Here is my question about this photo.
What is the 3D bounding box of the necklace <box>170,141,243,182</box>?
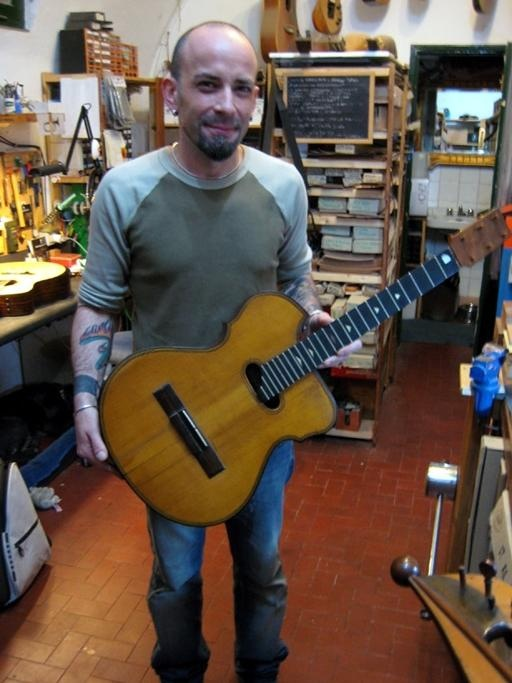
[{"bbox_3d":[-0.158,-0.550,1.553,0.237,0.113,0.209,1,15,-2],"label":"necklace"}]

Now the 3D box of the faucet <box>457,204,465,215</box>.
[{"bbox_3d":[2.884,-1.851,7.165,0.062,0.129,0.028,2,0,-26],"label":"faucet"}]

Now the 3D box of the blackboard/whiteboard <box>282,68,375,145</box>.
[{"bbox_3d":[0.549,-1.745,3.748,0.606,0.492,0.088,5,21,12],"label":"blackboard/whiteboard"}]

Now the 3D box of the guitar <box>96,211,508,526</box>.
[{"bbox_3d":[0.270,0.193,2.428,2.294,0.990,0.260,-32,12,0],"label":"guitar"}]
